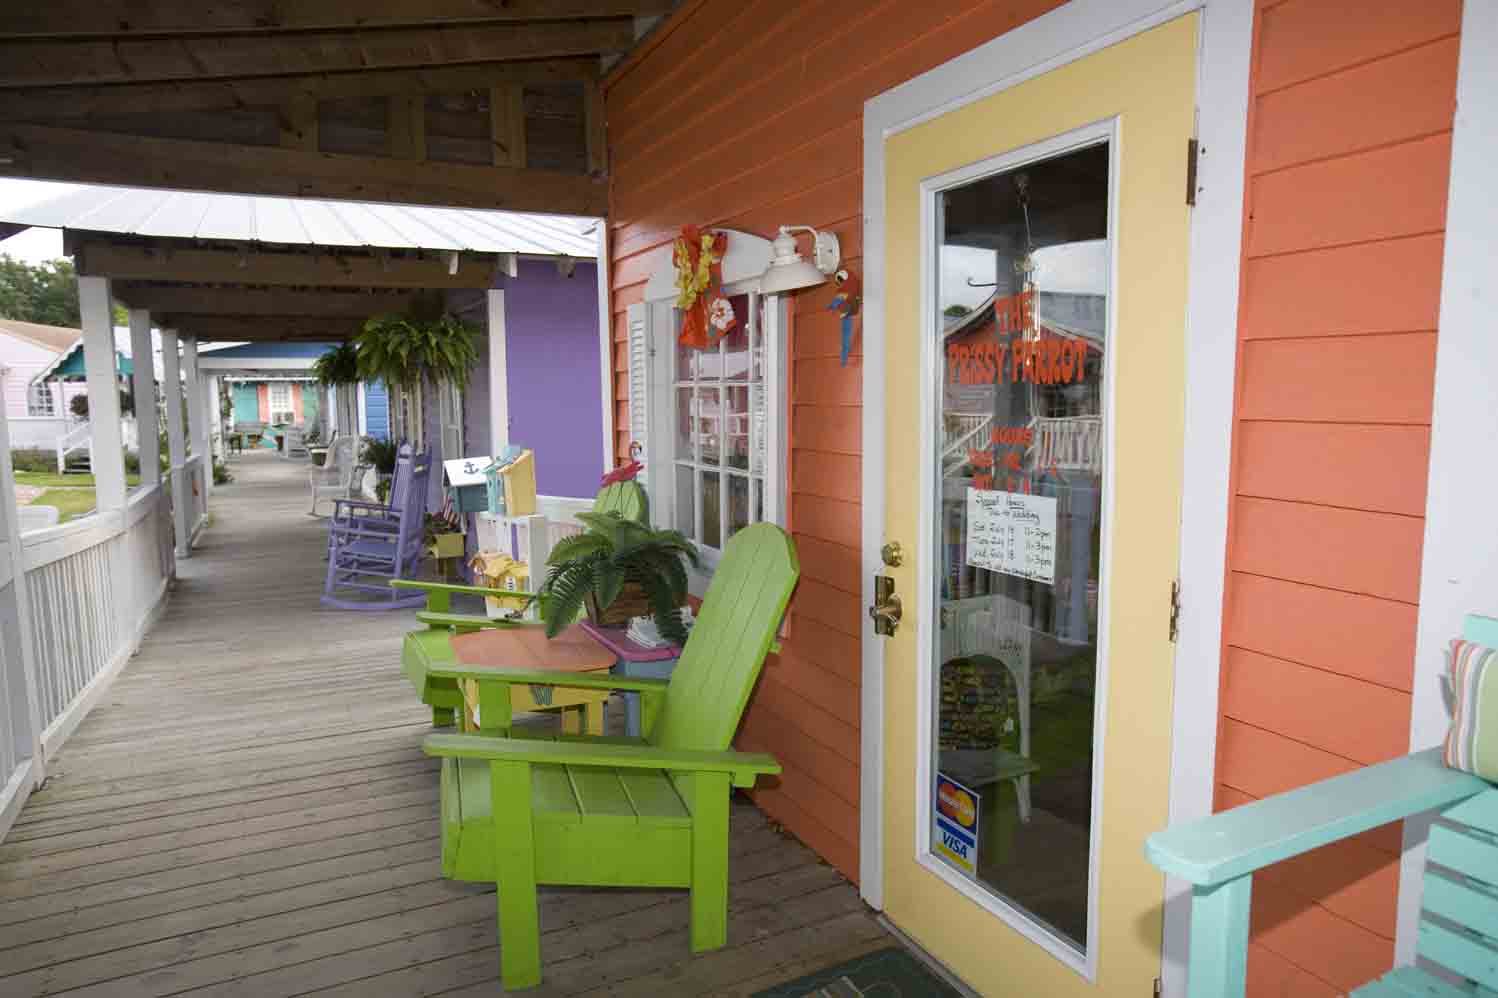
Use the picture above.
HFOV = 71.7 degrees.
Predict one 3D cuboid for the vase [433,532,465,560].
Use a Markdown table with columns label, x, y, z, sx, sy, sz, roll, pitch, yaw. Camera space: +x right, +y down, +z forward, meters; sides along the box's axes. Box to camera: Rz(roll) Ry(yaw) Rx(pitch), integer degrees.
| label | x | y | z | sx | sy | sz | roll | pitch | yaw |
| --- | --- | --- | --- | --- | --- | --- | --- | --- | --- |
| vase | -2.578 | 0.356 | 8.923 | 0.195 | 0.226 | 0.345 | -3 | 7 | -17 |

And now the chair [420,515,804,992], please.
| label | x | y | z | sx | sy | sz | roll | pitch | yaw |
| --- | --- | --- | --- | --- | --- | --- | --- | --- | --- |
| chair | -0.514 | 0.874 | 4.200 | 1.659 | 1.708 | 1.233 | 1 | 5 | -14 |

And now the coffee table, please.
| label | x | y | z | sx | sy | sz | roll | pitch | yaw |
| --- | --- | --- | --- | --- | --- | --- | --- | --- | --- |
| coffee table | -0.924 | 0.680 | 4.380 | 0.523 | 0.451 | 0.613 | -3 | 10 | -27 |

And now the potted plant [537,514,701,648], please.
| label | x | y | z | sx | sy | sz | roll | pitch | yaw |
| --- | --- | --- | --- | --- | --- | --- | --- | --- | --- |
| potted plant | -0.597 | 0.290 | 4.462 | 0.583 | 0.325 | 0.594 | -2 | 9 | -16 |

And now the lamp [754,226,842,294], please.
| label | x | y | z | sx | sy | sz | roll | pitch | yaw |
| --- | --- | --- | --- | --- | --- | --- | --- | --- | --- |
| lamp | 0.173 | -0.889 | 3.843 | 0.292 | 0.259 | 0.359 | -5 | 14 | -19 |

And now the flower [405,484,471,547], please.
| label | x | y | z | sx | sy | sz | roll | pitch | yaw |
| --- | --- | --- | --- | --- | --- | --- | --- | --- | --- |
| flower | -2.682 | 0.153 | 8.945 | 0.324 | 0.565 | 0.580 | -7 | 3 | -42 |
